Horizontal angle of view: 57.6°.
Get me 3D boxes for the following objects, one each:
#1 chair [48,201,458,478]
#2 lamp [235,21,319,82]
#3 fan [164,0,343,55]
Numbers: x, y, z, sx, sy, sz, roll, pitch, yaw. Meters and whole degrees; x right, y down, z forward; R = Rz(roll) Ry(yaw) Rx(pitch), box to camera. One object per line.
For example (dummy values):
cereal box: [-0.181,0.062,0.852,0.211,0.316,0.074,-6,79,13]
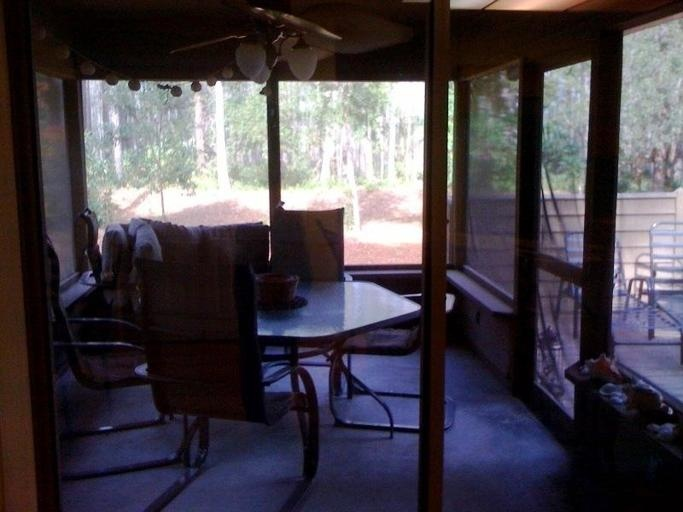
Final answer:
chair: [-0.513,0.197,2.770,1.220,0.815,1.239,-4,9,-19]
lamp: [-0.252,-0.801,2.463,0.314,0.253,0.310,1,0,12]
fan: [-0.340,-0.918,2.485,0.337,0.129,0.344,-1,0,6]
